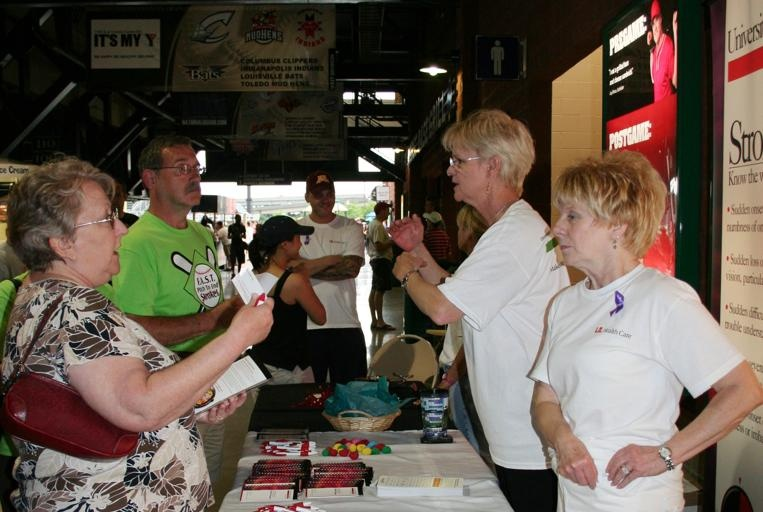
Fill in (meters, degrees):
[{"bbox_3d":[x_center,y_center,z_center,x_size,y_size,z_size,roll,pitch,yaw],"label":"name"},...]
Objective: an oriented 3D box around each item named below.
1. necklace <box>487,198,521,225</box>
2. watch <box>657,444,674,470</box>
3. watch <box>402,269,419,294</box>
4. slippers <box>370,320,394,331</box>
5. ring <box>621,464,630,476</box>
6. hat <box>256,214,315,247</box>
[{"bbox_3d":[0.580,-0.201,2.992,0.131,0.035,0.130,-41,-6,-10],"label":"necklace"},{"bbox_3d":[1.036,0.729,2.264,0.048,0.086,0.020,-19,-15,17],"label":"watch"},{"bbox_3d":[0.144,0.124,3.013,0.029,0.086,0.086,16,45,1],"label":"watch"},{"bbox_3d":[0.000,1.007,9.032,0.373,0.159,0.129,-1,2,6],"label":"slippers"},{"bbox_3d":[0.895,0.783,2.280,0.034,0.033,0.008,-2,-5,40],"label":"ring"},{"bbox_3d":[-0.661,-0.148,4.231,0.301,0.121,0.191,-14,23,-30],"label":"hat"}]
